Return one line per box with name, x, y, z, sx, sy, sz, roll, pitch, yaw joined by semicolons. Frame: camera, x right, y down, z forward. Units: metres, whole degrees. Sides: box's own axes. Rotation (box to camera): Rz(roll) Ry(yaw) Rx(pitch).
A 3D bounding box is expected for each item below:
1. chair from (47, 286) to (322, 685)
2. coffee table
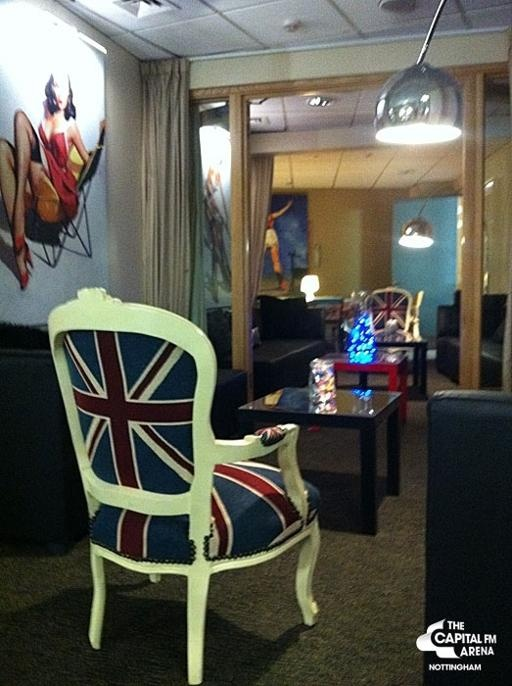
chair;-0.126;0.312;1.272;0.614;0.897;0.381;-5;10;-26
coffee table;0.343;0.414;2.270;0.522;0.460;0.552;4;14;28
